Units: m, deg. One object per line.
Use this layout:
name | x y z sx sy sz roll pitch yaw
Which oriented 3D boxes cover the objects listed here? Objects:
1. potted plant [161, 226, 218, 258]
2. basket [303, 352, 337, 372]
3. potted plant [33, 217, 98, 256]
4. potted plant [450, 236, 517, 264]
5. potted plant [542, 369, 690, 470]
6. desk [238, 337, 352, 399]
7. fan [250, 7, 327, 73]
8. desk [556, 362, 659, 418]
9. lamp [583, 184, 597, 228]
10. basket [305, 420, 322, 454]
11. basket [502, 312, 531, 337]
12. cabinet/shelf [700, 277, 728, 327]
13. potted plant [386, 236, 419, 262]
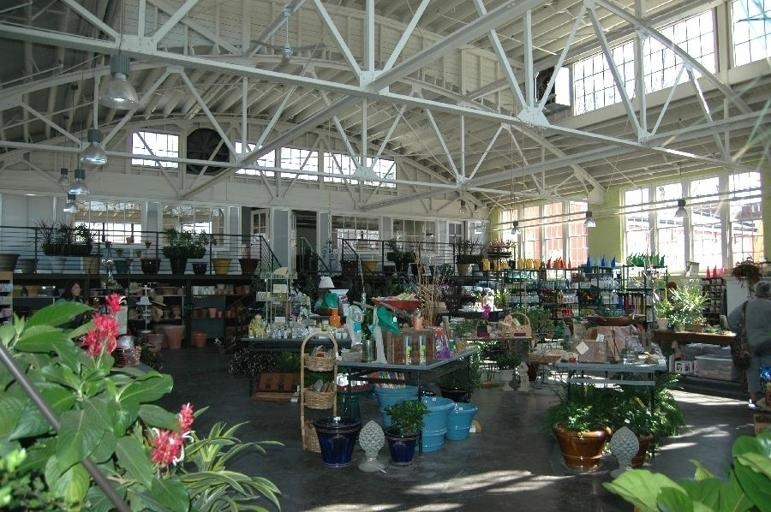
potted plant | -5.098 -0.285 16.030 0.813 0.606 1.083 0 -1 1
basket | -0.782 1.203 7.371 0.337 0.132 0.310 -4 -7 25
potted plant | -7.479 -0.497 14.659 1.002 0.444 0.984 -5 -3 -8
potted plant | 2.601 -0.119 17.147 1.135 0.529 1.611 -1 -1 39
potted plant | 2.468 1.756 6.959 1.144 0.814 1.143 -4 -5 41
desk | -1.239 1.576 8.766 1.174 0.548 0.645 0 -4 -3
fan | -1.854 -4.135 11.495 1.249 0.971 1.183 1 -1 35
desk | 2.560 1.512 6.999 1.321 0.614 1.138 1 -10 12
lamp | 5.645 -1.178 17.182 0.307 1.163 4.157 3 11 19
basket | -0.874 2.078 7.127 0.271 0.268 0.324 1 -5 -8
basket | 2.154 1.181 10.544 0.480 0.190 0.494 8 4 -19
cabinet/shelf | 7.892 1.111 15.161 0.432 1.163 1.466 4 11 20
potted plant | 0.385 -0.259 18.273 0.836 0.529 0.873 -3 -5 37
